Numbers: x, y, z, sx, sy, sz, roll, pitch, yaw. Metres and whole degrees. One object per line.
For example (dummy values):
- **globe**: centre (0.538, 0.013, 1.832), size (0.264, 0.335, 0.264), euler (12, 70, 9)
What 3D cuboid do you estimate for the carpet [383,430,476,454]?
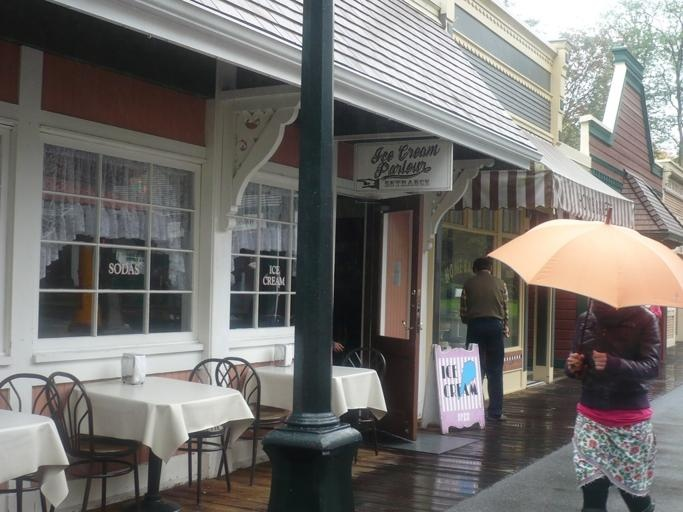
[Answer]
- **carpet**: centre (1.053, 2.184, 7.678), size (1.188, 0.054, 0.733), euler (2, -1, -44)
